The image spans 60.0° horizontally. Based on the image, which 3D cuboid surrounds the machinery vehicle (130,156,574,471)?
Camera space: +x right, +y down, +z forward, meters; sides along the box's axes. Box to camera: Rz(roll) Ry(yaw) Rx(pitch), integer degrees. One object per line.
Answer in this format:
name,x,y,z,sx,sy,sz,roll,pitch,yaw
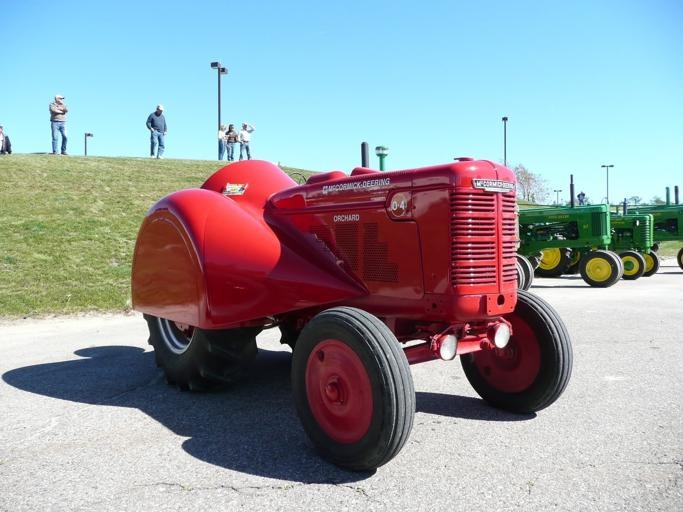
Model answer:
machinery vehicle,-0.029,0.326,5.758,3.699,2.093,2.318,-1,-1,40
